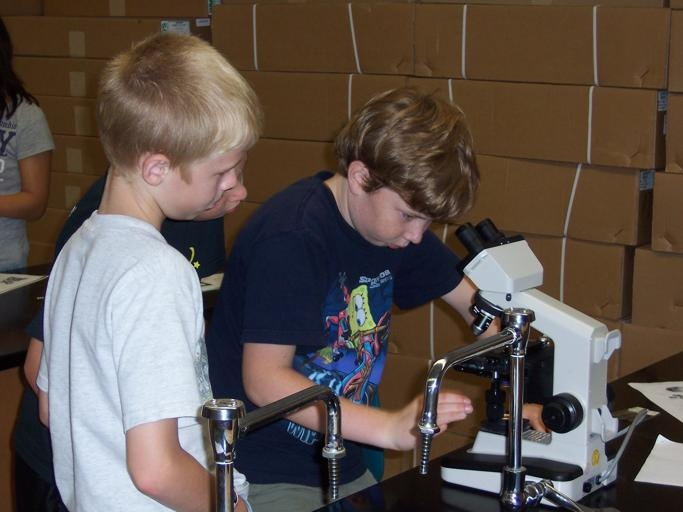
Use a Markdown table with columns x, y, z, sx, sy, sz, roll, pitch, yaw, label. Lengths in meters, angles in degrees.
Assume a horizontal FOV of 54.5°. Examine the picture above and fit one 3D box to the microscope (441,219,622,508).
| x | y | z | sx | sy | sz | roll | pitch | yaw | label |
| --- | --- | --- | --- | --- | --- | --- | --- | --- | --- |
| 0.352 | 0.296 | 1.302 | 0.371 | 0.656 | 0.329 | 12 | 21 | 23 | microscope |
